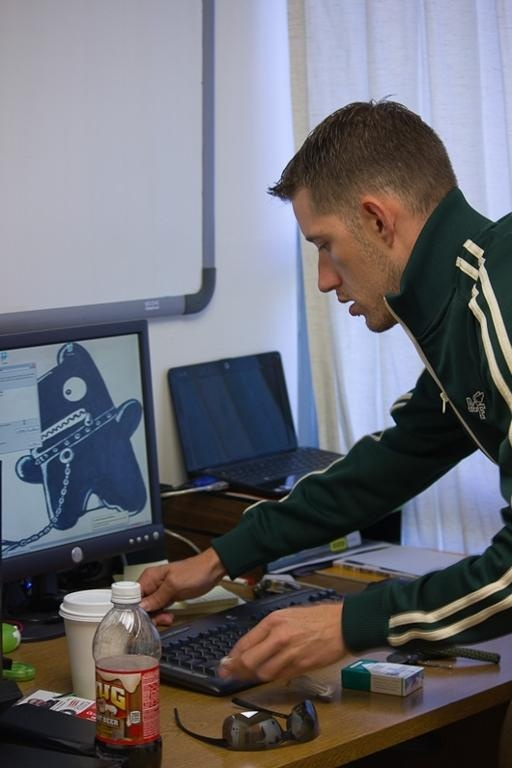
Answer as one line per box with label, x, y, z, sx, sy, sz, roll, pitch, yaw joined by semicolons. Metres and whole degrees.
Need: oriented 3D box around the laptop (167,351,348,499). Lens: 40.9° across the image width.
laptop;0.040;0.090;1.735;0.355;0.256;0.425;9;12;44
